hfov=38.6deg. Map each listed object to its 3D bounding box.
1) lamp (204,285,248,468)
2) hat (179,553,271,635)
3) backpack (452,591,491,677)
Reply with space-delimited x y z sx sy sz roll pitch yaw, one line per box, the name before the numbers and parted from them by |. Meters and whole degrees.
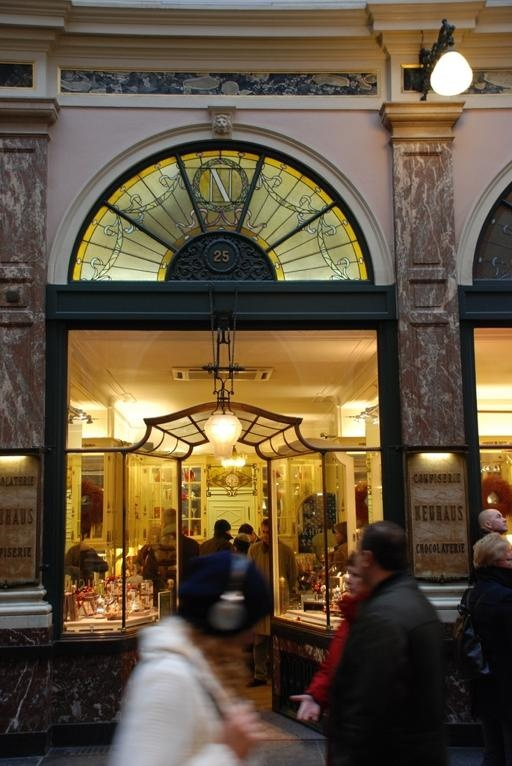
lamp | -0.289 -0.031 6.339 0.321 1.367 0.714 -3 -10 -2
hat | -0.059 0.400 1.454 0.146 0.156 0.169 3 -4 -11
backpack | 1.146 1.352 3.939 0.185 0.364 0.182 4 -5 10
